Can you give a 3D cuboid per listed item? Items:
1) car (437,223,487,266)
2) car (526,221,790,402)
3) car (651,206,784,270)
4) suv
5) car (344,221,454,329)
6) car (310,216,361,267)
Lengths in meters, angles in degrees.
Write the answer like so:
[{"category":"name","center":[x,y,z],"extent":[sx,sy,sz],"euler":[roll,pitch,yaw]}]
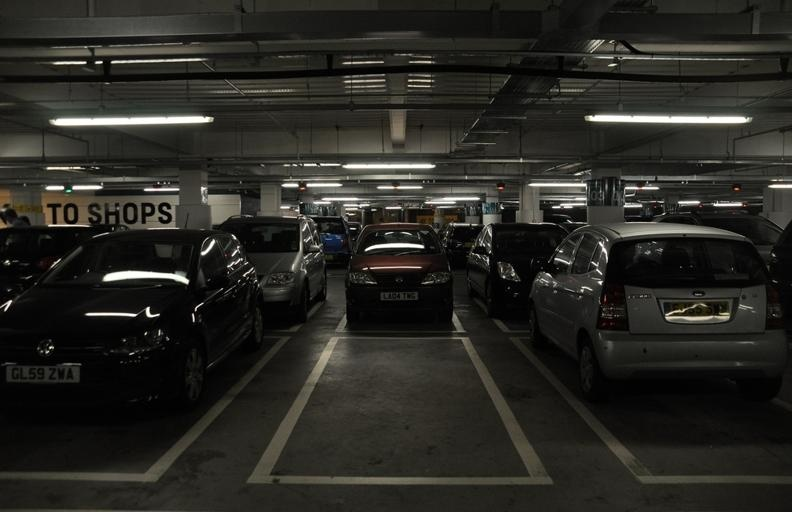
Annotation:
[{"category":"car","center":[2.447,-0.546,25.039],"extent":[1.100,1.067,2.144],"euler":[1,6,1]},{"category":"car","center":[3.631,0.778,9.182],"extent":[3.193,2.271,1.909],"euler":[6,16,21]},{"category":"car","center":[7.567,-0.421,15.746],"extent":[1.441,1.018,3.018],"euler":[1,2,-5]},{"category":"suv","center":[-2.448,0.075,14.046],"extent":[1.600,1.209,2.777],"euler":[0,0,2]},{"category":"car","center":[0.080,0.190,14.742],"extent":[2.128,1.939,4.190],"euler":[-1,4,1]},{"category":"car","center":[-2.288,-0.612,23.082],"extent":[1.377,1.225,2.799],"euler":[0,-1,1]}]
